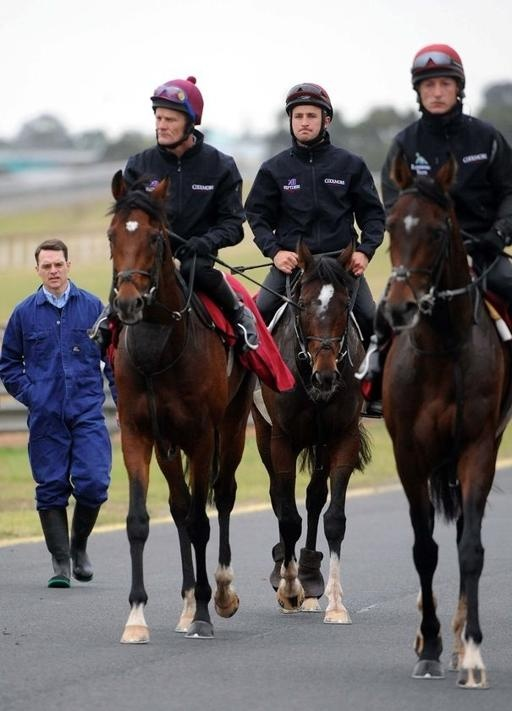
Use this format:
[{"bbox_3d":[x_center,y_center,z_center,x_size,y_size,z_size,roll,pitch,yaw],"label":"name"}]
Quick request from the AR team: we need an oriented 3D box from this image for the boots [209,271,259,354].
[{"bbox_3d":[-0.134,-0.271,8.928,0.206,0.676,0.197,-7,51,24],"label":"boots"}]

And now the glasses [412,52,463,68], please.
[{"bbox_3d":[1.026,-1.719,7.782,0.268,0.119,0.215,0,0,5],"label":"glasses"}]

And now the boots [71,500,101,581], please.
[{"bbox_3d":[-1.255,1.363,9.881,0.191,0.570,0.307,0,0,-8],"label":"boots"}]

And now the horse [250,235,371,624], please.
[{"bbox_3d":[0.364,0.490,9.233,0.743,2.459,2.048,0,0,0],"label":"horse"}]

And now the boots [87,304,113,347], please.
[{"bbox_3d":[-0.986,-0.206,8.538,0.155,0.106,0.300,14,48,4],"label":"boots"}]
